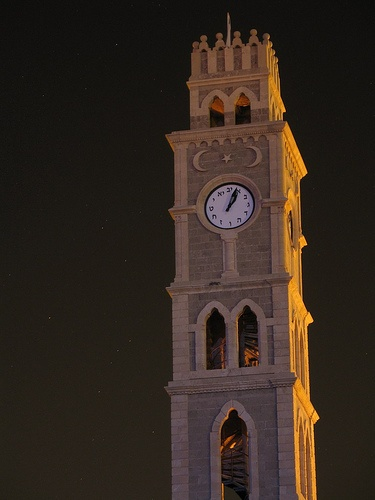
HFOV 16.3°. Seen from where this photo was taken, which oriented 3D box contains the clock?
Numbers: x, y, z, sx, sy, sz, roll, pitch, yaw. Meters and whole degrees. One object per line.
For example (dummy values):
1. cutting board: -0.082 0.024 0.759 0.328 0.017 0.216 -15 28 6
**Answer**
1. clock: 1.397 -1.417 42.664 1.027 0.159 1.317 14 72 20
